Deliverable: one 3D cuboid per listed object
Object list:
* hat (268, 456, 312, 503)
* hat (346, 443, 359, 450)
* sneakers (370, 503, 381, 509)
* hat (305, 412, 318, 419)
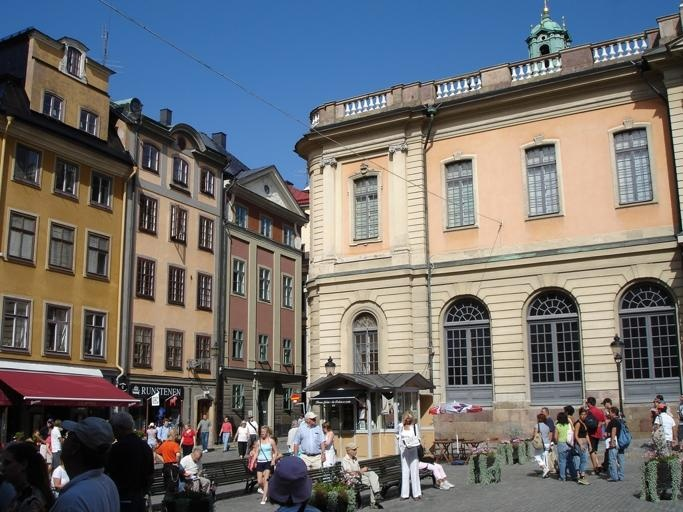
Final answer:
[{"bbox_3d":[-0.626,2.754,9.164,0.418,0.341,0.590,0,12,-2],"label":"hat"},{"bbox_3d":[0.325,5.037,19.898,0.235,0.117,0.177,4,-4,-29],"label":"hat"},{"bbox_3d":[0.915,6.400,19.253,0.149,0.083,0.120,6,-7,7],"label":"sneakers"},{"bbox_3d":[-0.857,4.353,20.424,0.367,0.197,0.297,-13,-6,9],"label":"hat"}]
